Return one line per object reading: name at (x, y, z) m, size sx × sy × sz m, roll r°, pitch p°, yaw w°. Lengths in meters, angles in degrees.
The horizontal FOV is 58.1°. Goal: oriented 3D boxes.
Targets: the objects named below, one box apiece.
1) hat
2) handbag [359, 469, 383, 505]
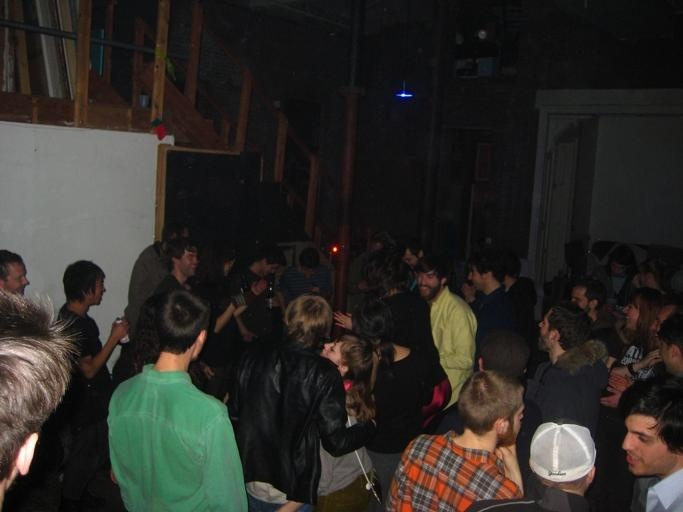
hat at (1.364, 1.211, 3.785) m, size 0.368 × 0.325 × 0.204 m, roll 5°, pitch 4°, yaw 17°
handbag at (0.236, 1.699, 4.605) m, size 0.138 × 0.252 × 0.222 m, roll 4°, pitch 4°, yaw 8°
